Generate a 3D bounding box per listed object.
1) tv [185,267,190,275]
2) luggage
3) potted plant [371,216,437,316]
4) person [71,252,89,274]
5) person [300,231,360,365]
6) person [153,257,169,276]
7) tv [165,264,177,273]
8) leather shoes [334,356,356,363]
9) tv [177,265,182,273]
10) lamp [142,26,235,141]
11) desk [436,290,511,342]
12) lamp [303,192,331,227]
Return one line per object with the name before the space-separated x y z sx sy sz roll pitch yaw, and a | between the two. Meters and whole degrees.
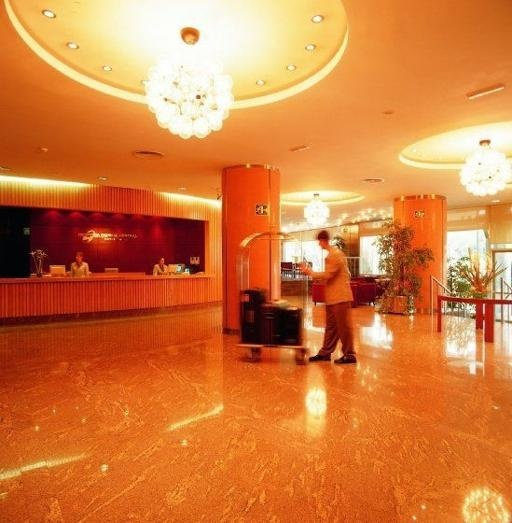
tv | -2.414 0.314 14.437 0.144 0.206 0.463 0 0 -4
luggage | 0.210 0.754 6.108 0.722 0.834 0.841 -1 -3 10
potted plant | 4.254 0.191 12.004 1.359 2.696 0.796 0 1 17
person | -5.081 0.044 11.833 0.482 0.928 0.294 -3 -8 -13
person | 1.127 0.521 6.008 0.700 1.938 0.685 0 1 10
person | -3.100 0.182 13.347 0.520 0.929 0.294 0 -2 -44
tv | -2.764 0.249 13.352 0.313 0.255 0.218 2 -5 -38
leather shoes | 1.304 1.430 5.981 0.251 0.106 0.130 2 -2 -1
tv | -2.559 0.251 13.807 0.193 0.213 0.049 6 -14 -38
lamp | -0.801 -2.026 4.995 0.991 1.517 1.163 0 0 -10
desk | 4.214 1.009 8.059 1.017 0.559 1.083 -3 -3 25
lamp | 1.962 -1.763 13.328 0.698 0.997 0.660 0 0 14
